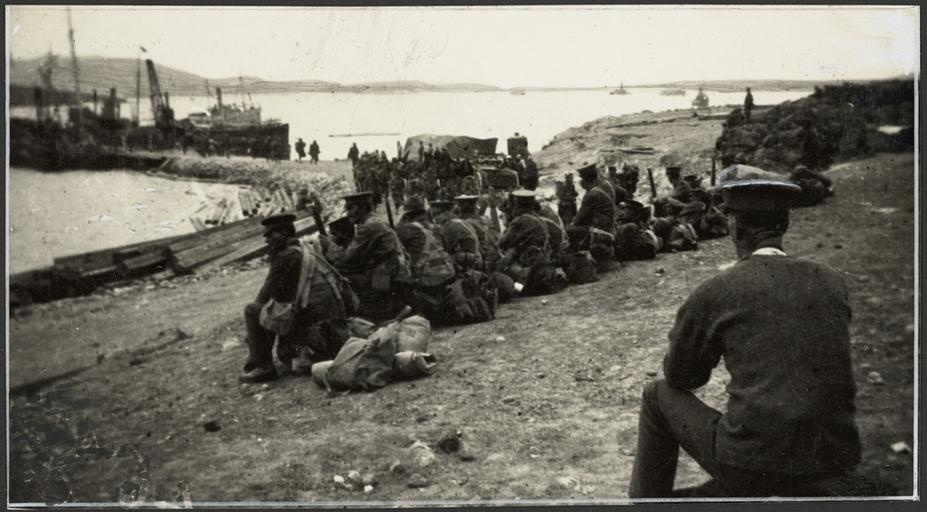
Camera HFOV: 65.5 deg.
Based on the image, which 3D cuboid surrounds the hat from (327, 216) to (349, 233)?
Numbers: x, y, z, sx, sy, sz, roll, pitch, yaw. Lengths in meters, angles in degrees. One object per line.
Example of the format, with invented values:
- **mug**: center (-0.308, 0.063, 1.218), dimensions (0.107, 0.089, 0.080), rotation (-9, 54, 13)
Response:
- **hat**: center (-1.867, -0.477, 10.843), dimensions (0.284, 0.098, 0.245), rotation (-16, 10, -14)

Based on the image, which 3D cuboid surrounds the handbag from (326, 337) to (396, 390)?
- **handbag**: center (-1.354, 1.253, 9.373), dimensions (0.787, 0.313, 0.714), rotation (4, 53, 11)

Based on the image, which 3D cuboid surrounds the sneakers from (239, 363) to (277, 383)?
- **sneakers**: center (-2.746, 1.573, 9.652), dimensions (0.426, 0.158, 0.220), rotation (2, 1, -7)

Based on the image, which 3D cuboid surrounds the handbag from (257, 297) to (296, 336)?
- **handbag**: center (-2.480, 0.816, 9.687), dimensions (0.460, 0.455, 0.170), rotation (15, -4, 0)

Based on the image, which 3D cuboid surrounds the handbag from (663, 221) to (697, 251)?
- **handbag**: center (3.635, -0.335, 12.009), dimensions (0.516, 0.480, 0.523), rotation (0, 4, 23)
